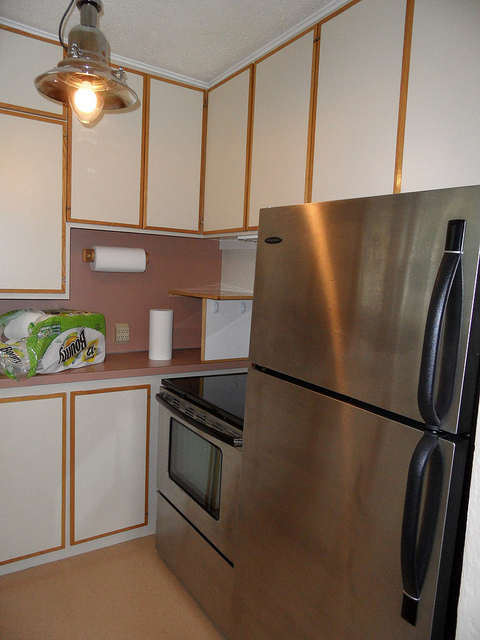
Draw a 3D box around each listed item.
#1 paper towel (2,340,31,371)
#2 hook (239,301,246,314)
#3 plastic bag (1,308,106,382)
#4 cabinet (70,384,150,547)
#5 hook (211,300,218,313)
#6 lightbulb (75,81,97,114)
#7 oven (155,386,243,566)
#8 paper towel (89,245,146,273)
[{"bbox_3d":[-0.828,0.129,1.830,0.079,0.045,0.120,-11,47,-30],"label":"paper towel"},{"bbox_3d":[0.014,-0.059,2.325,0.008,0.045,0.031,2,-1,35],"label":"hook"},{"bbox_3d":[-0.719,0.095,1.967,0.173,0.231,0.464,7,7,37],"label":"plastic bag"},{"bbox_3d":[-0.540,0.590,2.050,0.268,0.707,0.270,-2,10,-30],"label":"cabinet"},{"bbox_3d":[-0.112,-0.058,2.216,0.042,0.077,0.035,-1,6,-22],"label":"hook"},{"bbox_3d":[-0.419,-0.603,1.351,0.041,0.069,0.041,25,19,37],"label":"lightbulb"},{"bbox_3d":[-0.069,0.532,1.848,0.357,0.504,0.554,1,7,-40],"label":"oven"},{"bbox_3d":[-0.561,-0.278,2.297,0.256,0.110,0.120,1,6,-21],"label":"paper towel"}]
